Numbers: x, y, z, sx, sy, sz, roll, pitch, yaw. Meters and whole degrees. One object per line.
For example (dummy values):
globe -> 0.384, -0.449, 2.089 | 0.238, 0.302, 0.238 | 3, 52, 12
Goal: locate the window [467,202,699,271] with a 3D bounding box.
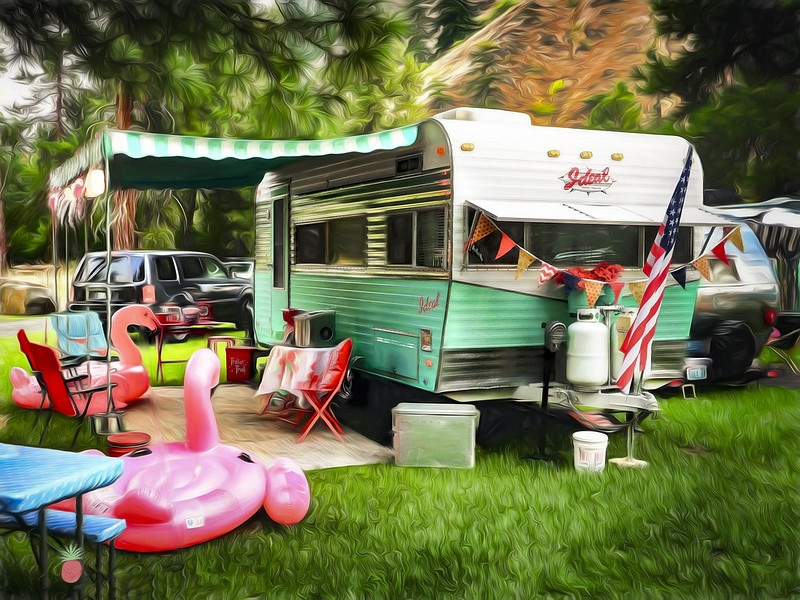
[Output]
window -> 2.050, -0.631, 7.033 | 2.866, 0.600, 0.116 | 0, -1, -16

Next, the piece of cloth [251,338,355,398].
piece of cloth -> -1.041, 0.701, 6.756 | 0.783, 0.381, 0.711 | 4, -2, 4

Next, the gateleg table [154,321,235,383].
gateleg table -> -3.988, 0.839, 12.583 | 1.551, 1.034, 1.217 | -6, 1, -37

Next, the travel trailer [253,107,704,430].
travel trailer -> 0.529, -0.679, 9.631 | 3.855, 3.304, 6.614 | -1, 5, -28

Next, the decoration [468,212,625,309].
decoration -> 1.513, -0.431, 6.581 | 1.609, 0.942, 0.635 | 3, 12, 5

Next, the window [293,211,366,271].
window -> -0.926, -0.755, 8.404 | 0.098, 0.639, 1.779 | -2, 3, -39

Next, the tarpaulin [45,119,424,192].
tarpaulin -> -2.204, -1.723, 7.784 | 2.946, 0.812, 4.282 | -5, 13, -32

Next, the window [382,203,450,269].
window -> 0.139, -0.624, 6.490 | 0.065, 0.617, 1.091 | 4, 8, 38

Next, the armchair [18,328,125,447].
armchair -> -3.295, 0.952, 6.682 | 1.023, 1.140, 0.983 | -7, -6, 8

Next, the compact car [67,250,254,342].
compact car -> -4.389, -0.140, 11.617 | 1.589, 1.153, 2.926 | 2, 5, 40
